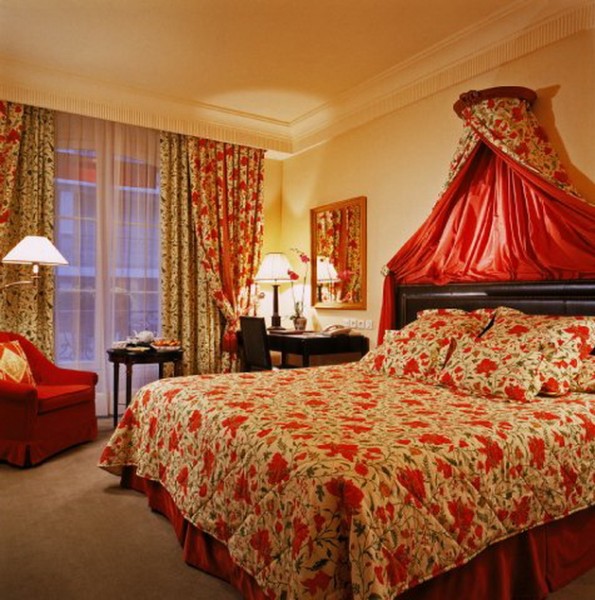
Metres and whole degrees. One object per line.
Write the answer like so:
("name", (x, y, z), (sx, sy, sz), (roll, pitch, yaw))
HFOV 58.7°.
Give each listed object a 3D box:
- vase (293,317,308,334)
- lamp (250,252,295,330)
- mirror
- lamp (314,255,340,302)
("vase", (0.023, 0.238, 5.162), (0.118, 0.143, 0.124), (0, 3, -12))
("lamp", (-0.236, -0.087, 5.264), (0.509, 0.751, 0.531), (-1, 0, -14))
("mirror", (0.402, -0.433, 4.942), (0.049, 1.398, 1.063), (-1, 0, -29))
("lamp", (0.229, -0.249, 5.273), (0.234, 0.431, 0.277), (11, 34, 18))
